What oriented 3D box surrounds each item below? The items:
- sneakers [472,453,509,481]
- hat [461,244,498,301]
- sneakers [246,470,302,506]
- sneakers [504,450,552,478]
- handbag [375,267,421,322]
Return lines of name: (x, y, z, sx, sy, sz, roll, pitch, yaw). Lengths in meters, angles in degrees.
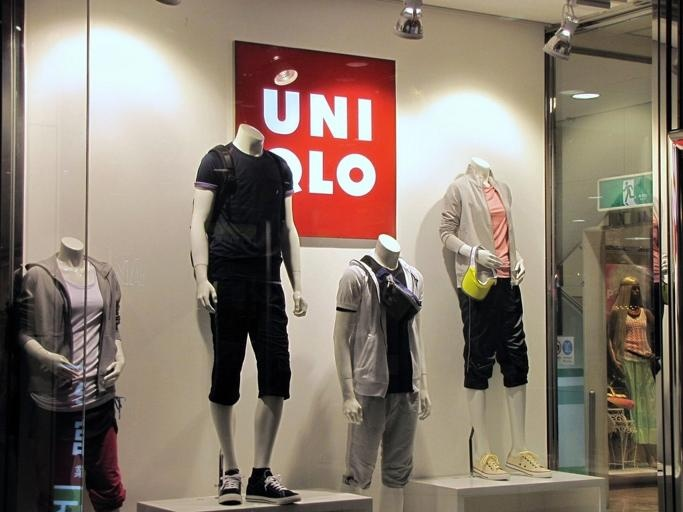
sneakers: (0.647, 0.913, 3.018, 0.177, 0.093, 0.079, 1, -5, 27)
hat: (0.639, 0.075, 3.085, 0.095, 0.167, 0.160, -20, 27, -32)
sneakers: (-0.248, 0.927, 2.758, 0.251, 0.173, 0.101, 1, -10, 4)
sneakers: (0.815, 0.921, 3.107, 0.230, 0.122, 0.095, 11, -5, -3)
handbag: (0.235, 0.178, 2.985, 0.145, 0.222, 0.080, -12, -20, -46)
